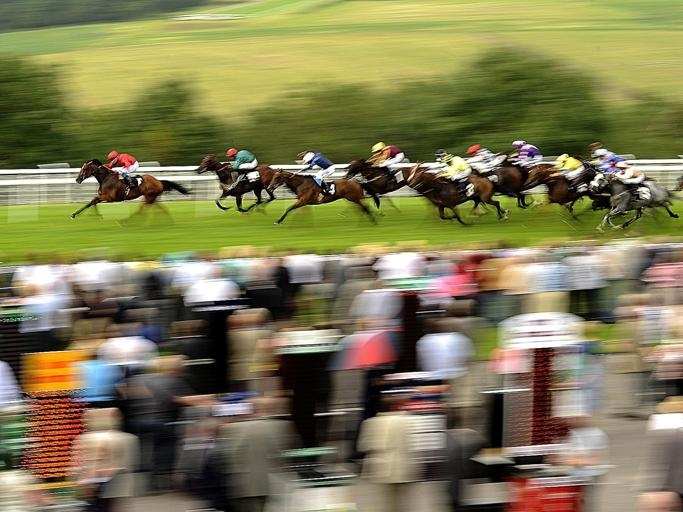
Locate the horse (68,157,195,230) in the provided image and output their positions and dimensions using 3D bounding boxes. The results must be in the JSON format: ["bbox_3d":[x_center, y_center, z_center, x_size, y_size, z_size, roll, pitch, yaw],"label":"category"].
[{"bbox_3d":[-3.684,-1.156,24.105,1.853,0.992,0.806,-6,12,-4],"label":"horse"}]

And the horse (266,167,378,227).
[{"bbox_3d":[-0.374,-0.991,24.017,1.680,0.989,0.613,-6,13,-1],"label":"horse"}]

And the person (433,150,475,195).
[{"bbox_3d":[1.943,-1.390,23.922,0.514,0.811,0.487,-9,13,4],"label":"person"}]

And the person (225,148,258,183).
[{"bbox_3d":[-1.706,-1.518,24.606,0.471,0.572,0.420,-9,13,-2],"label":"person"}]
